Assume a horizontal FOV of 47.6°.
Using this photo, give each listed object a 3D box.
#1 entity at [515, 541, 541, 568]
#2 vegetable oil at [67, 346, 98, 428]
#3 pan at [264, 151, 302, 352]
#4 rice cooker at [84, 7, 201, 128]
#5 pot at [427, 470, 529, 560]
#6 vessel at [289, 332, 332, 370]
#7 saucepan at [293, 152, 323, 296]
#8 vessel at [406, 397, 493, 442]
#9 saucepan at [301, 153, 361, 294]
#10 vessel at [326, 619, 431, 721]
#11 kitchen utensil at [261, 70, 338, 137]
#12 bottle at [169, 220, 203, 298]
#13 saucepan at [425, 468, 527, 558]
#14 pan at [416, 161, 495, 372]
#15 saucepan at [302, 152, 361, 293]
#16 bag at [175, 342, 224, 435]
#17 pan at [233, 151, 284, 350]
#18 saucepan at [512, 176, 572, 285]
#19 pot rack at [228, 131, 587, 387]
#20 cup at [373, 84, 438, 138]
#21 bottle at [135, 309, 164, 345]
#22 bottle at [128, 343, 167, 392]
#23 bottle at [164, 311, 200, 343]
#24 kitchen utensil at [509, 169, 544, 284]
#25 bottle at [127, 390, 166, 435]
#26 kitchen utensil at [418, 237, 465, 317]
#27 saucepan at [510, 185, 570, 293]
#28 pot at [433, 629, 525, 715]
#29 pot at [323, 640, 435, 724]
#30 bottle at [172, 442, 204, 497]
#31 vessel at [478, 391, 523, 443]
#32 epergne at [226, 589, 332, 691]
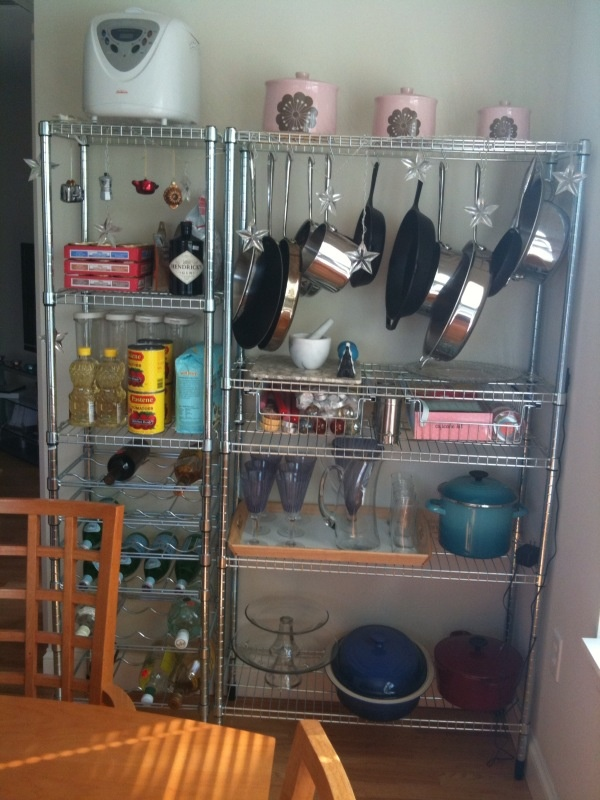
[{"bbox_3d":[0.579,0.376,1.699,0.056,0.060,0.057,3,3,-23],"label":"entity"},{"bbox_3d":[-0.533,-0.025,1.662,0.063,0.171,0.051,-2,11,-19],"label":"vegetable oil"},{"bbox_3d":[-0.030,-0.320,1.493,0.051,0.367,0.188,-2,1,-3],"label":"pan"},{"bbox_3d":[-0.343,-0.732,1.591,0.263,0.258,0.255,2,15,1],"label":"rice cooker"},{"bbox_3d":[0.428,0.283,1.653,0.270,0.213,0.206,0,9,1],"label":"pot"},{"bbox_3d":[0.022,-0.120,1.600,0.085,0.064,0.086,0,7,-9],"label":"vessel"},{"bbox_3d":[0.017,-0.414,1.650,0.039,0.287,0.102,-5,1,-5],"label":"saucepan"},{"bbox_3d":[0.353,0.041,1.624,0.187,0.096,0.115,1,11,-5],"label":"vessel"},{"bbox_3d":[0.051,-0.403,1.520,0.095,0.302,0.124,-5,-16,-4],"label":"saucepan"},{"bbox_3d":[0.205,0.678,1.737,0.232,0.151,0.236,-3,30,-8],"label":"vessel"},{"bbox_3d":[0.000,-0.635,1.518,0.141,0.111,0.143,1,6,2],"label":"kitchen utensil"},{"bbox_3d":[-0.274,-0.341,1.629,0.078,0.174,0.149,0,11,-11],"label":"bottle"},{"bbox_3d":[0.417,0.285,1.671,0.267,0.211,0.204,0,9,1],"label":"saucepan"},{"bbox_3d":[0.357,-0.299,1.535,0.134,0.455,0.279,4,10,10],"label":"pan"},{"bbox_3d":[0.069,-0.409,1.533,0.099,0.302,0.124,6,-20,-14],"label":"saucepan"},{"bbox_3d":[-0.242,-0.027,1.619,0.073,0.208,0.211,1,8,5],"label":"bag"},{"bbox_3d":[-0.095,-0.315,1.583,0.052,0.369,0.209,-6,8,-16],"label":"pan"},{"bbox_3d":[0.528,-0.373,1.461,0.069,0.193,0.141,-7,18,-42],"label":"saucepan"},{"bbox_3d":[0.257,-0.359,1.618,0.603,0.594,0.216,1,26,-1],"label":"pot rack"},{"bbox_3d":[0.228,-0.613,1.499,0.126,0.118,0.127,2,15,0],"label":"cup"},{"bbox_3d":[-0.371,-0.190,1.731,0.093,0.099,0.095,1,14,-10],"label":"bottle"},{"bbox_3d":[-0.361,-0.076,1.600,0.086,0.112,0.043,0,10,-12],"label":"bottle"},{"bbox_3d":[-0.299,-0.189,1.759,0.082,0.102,0.083,4,27,0],"label":"bottle"},{"bbox_3d":[0.501,-0.380,1.484,0.031,0.231,0.061,-5,20,-40],"label":"kitchen utensil"},{"bbox_3d":[-0.366,0.027,1.669,0.096,0.107,0.098,3,8,-2],"label":"bottle"},{"bbox_3d":[0.307,-0.274,1.509,0.054,0.140,0.079,15,22,6],"label":"kitchen utensil"},{"bbox_3d":[0.507,-0.355,1.484,0.063,0.157,0.132,5,-3,3],"label":"saucepan"},{"bbox_3d":[0.456,0.678,1.716,0.225,0.153,0.204,2,12,5],"label":"pot"},{"bbox_3d":[0.231,0.753,1.776,0.302,0.123,0.212,-1,11,-17],"label":"pot"},{"bbox_3d":[-0.289,0.170,1.749,0.042,0.129,0.130,24,28,-1],"label":"bottle"},{"bbox_3d":[0.486,0.027,1.625,0.097,0.130,0.038,1,4,7],"label":"vessel"},{"bbox_3d":[-0.054,0.637,1.877,0.263,0.188,0.267,1,3,7],"label":"epergne"}]
